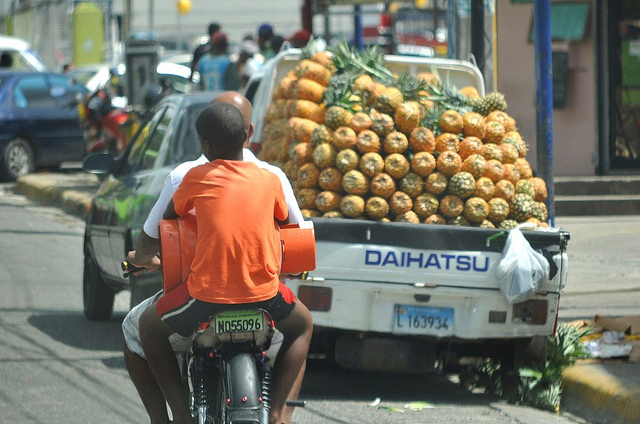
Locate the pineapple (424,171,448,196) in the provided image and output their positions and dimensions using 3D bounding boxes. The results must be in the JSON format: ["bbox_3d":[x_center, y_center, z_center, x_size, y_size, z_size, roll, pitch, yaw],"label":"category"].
[{"bbox_3d":[1.302,-0.311,14.061,0.216,0.246,0.211,-1,-6,-7],"label":"pineapple"}]

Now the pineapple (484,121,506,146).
[{"bbox_3d":[1.976,-0.897,14.333,0.242,0.246,0.207,28,2,18],"label":"pineapple"}]

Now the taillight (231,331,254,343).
[{"bbox_3d":[-0.740,1.176,11.927,0.202,0.101,0.047,0,8,-10],"label":"taillight"}]

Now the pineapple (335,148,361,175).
[{"bbox_3d":[0.310,-0.570,14.084,0.239,0.275,0.150,0,5,2],"label":"pineapple"}]

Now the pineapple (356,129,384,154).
[{"bbox_3d":[0.581,-0.761,14.197,0.232,0.265,0.305,12,-20,12],"label":"pineapple"}]

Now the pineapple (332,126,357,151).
[{"bbox_3d":[0.274,-0.814,14.131,0.228,0.261,0.250,1,-16,7],"label":"pineapple"}]

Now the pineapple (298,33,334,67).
[{"bbox_3d":[-0.057,-1.898,14.871,0.331,0.342,0.682,0,9,-10],"label":"pineapple"}]

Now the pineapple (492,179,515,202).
[{"bbox_3d":[2.046,-0.254,14.141,0.197,0.218,0.244,-16,19,11],"label":"pineapple"}]

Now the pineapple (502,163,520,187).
[{"bbox_3d":[2.163,-0.436,14.269,0.206,0.260,0.197,-15,2,-44],"label":"pineapple"}]

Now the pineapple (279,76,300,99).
[{"bbox_3d":[-0.377,-1.465,14.822,0.209,0.267,0.196,1,8,-1],"label":"pineapple"}]

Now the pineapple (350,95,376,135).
[{"bbox_3d":[0.463,-1.065,14.168,0.288,0.369,0.249,2,-5,-14],"label":"pineapple"}]

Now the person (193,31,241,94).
[{"bbox_3d":[-1.803,-2.751,23.127,0.565,1.057,1.158,-3,9,-26],"label":"person"}]

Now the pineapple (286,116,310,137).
[{"bbox_3d":[-0.271,-1.000,14.424,0.215,0.232,0.200,-20,23,-34],"label":"pineapple"}]

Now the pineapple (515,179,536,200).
[{"bbox_3d":[2.314,-0.257,14.230,0.195,0.243,0.203,6,4,43],"label":"pineapple"}]

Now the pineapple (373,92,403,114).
[{"bbox_3d":[0.756,-1.237,14.372,0.255,0.242,0.214,4,1,-2],"label":"pineapple"}]

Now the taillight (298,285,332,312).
[{"bbox_3d":[-0.041,0.929,13.553,0.243,0.206,0.035,1,5,6],"label":"taillight"}]

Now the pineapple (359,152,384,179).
[{"bbox_3d":[0.571,-0.519,13.974,0.234,0.272,0.125,-9,3,4],"label":"pineapple"}]

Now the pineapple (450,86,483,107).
[{"bbox_3d":[1.674,-1.326,14.541,0.481,0.212,0.209,-5,10,-37],"label":"pineapple"}]

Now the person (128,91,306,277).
[{"bbox_3d":[-1.303,-0.838,13.103,1.038,1.228,2.272,7,23,-17],"label":"person"}]

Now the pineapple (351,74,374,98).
[{"bbox_3d":[0.489,-1.450,14.359,0.205,0.256,0.144,-25,-26,-18],"label":"pineapple"}]

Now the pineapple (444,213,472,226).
[{"bbox_3d":[1.543,0.098,14.107,0.177,0.107,0.159,1,3,11],"label":"pineapple"}]

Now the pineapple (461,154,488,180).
[{"bbox_3d":[1.746,-0.509,14.179,0.258,0.264,0.263,31,7,37],"label":"pineapple"}]

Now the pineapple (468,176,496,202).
[{"bbox_3d":[1.835,-0.276,14.154,0.261,0.255,0.261,-17,-20,-50],"label":"pineapple"}]

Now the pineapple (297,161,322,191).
[{"bbox_3d":[-0.121,-0.402,14.224,0.220,0.334,0.249,-1,-32,-12],"label":"pineapple"}]

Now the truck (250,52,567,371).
[{"bbox_3d":[0.687,0.659,16.736,3.282,3.486,6.651,3,-6,-7],"label":"truck"}]

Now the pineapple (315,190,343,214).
[{"bbox_3d":[0.099,-0.131,14.228,0.235,0.269,0.307,-11,-1,29],"label":"pineapple"}]

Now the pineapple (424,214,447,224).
[{"bbox_3d":[1.289,0.081,14.069,0.130,0.079,0.129,-2,6,-39],"label":"pineapple"}]

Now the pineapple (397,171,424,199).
[{"bbox_3d":[1.010,-0.232,14.150,0.219,0.242,0.216,23,-32,11],"label":"pineapple"}]

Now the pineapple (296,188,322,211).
[{"bbox_3d":[-0.132,-0.154,14.205,0.251,0.223,0.193,-1,-1,39],"label":"pineapple"}]

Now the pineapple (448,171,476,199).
[{"bbox_3d":[1.598,-0.315,14.131,0.286,0.268,0.265,-24,8,32],"label":"pineapple"}]

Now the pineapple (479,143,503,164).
[{"bbox_3d":[1.928,-0.673,14.191,0.175,0.127,0.221,23,18,-22],"label":"pineapple"}]

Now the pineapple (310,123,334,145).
[{"bbox_3d":[0.025,-0.877,14.226,0.220,0.218,0.190,-10,18,-2],"label":"pineapple"}]

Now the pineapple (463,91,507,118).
[{"bbox_3d":[1.916,-1.245,14.616,0.460,0.214,0.240,-13,41,-7],"label":"pineapple"}]

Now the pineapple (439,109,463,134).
[{"bbox_3d":[1.464,-1.013,14.226,0.233,0.242,0.122,-37,1,-23],"label":"pineapple"}]

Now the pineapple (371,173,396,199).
[{"bbox_3d":[0.678,-0.262,14.141,0.305,0.179,0.333,-22,20,23],"label":"pineapple"}]

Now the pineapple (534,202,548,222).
[{"bbox_3d":[2.514,-0.028,14.289,0.176,0.211,0.189,6,26,17],"label":"pineapple"}]

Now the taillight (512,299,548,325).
[{"bbox_3d":[2.274,1.090,13.642,0.271,0.191,0.292,0,1,5],"label":"taillight"}]

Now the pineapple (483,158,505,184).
[{"bbox_3d":[1.948,-0.466,14.203,0.229,0.216,0.240,30,26,-19],"label":"pineapple"}]

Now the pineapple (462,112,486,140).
[{"bbox_3d":[1.748,-0.970,14.285,0.260,0.293,0.135,2,8,7],"label":"pineapple"}]

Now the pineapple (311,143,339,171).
[{"bbox_3d":[0.046,-0.619,14.169,0.253,0.324,0.274,2,6,13],"label":"pineapple"}]

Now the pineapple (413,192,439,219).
[{"bbox_3d":[1.181,-0.081,14.054,0.246,0.276,0.246,1,21,-6],"label":"pineapple"}]

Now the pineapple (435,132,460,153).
[{"bbox_3d":[1.425,-0.781,14.128,0.277,0.212,0.118,2,8,5],"label":"pineapple"}]
